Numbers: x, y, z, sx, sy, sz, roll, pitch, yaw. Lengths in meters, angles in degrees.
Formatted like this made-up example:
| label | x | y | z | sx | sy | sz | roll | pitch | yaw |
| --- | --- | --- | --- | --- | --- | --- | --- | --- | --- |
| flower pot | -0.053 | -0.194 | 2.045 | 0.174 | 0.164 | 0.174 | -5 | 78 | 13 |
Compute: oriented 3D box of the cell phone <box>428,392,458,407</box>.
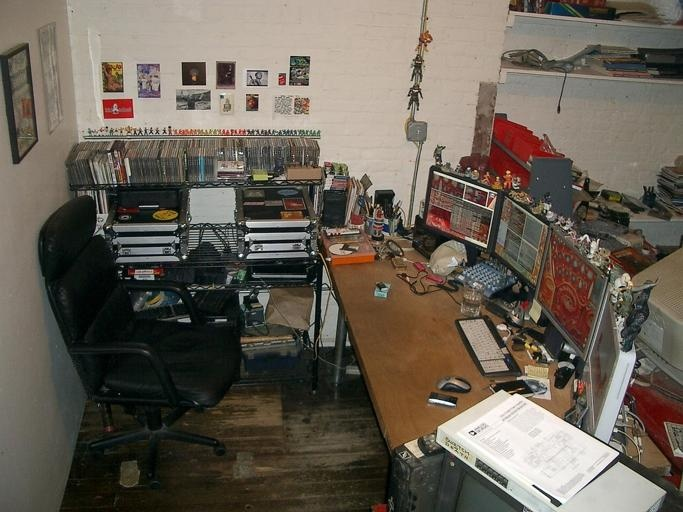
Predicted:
| label | x | y | z | sx | sy | sz | roll | pitch | yaw |
| --- | --- | --- | --- | --- | --- | --- | --- | --- | --- |
| cell phone | 0.466 | 0.664 | 2.457 | 0.107 | 0.026 | 0.058 | 2 | 29 | 2 |

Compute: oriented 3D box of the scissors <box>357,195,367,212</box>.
| label | x | y | z | sx | sy | sz | roll | pitch | yaw |
| --- | --- | --- | --- | --- | --- | --- | --- | --- | --- |
| scissors | 0.143 | -0.365 | 3.708 | 0.053 | 0.101 | 0.063 | -3 | 8 | 44 |

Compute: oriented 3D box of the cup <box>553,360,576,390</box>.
| label | x | y | z | sx | sy | sz | roll | pitch | yaw |
| --- | --- | --- | --- | --- | --- | --- | --- | --- | --- |
| cup | 1.100 | 0.585 | 2.628 | 0.083 | 0.134 | 0.066 | 7 | 14 | -9 |

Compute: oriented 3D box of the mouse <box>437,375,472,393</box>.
| label | x | y | z | sx | sy | sz | roll | pitch | yaw |
| --- | --- | --- | --- | --- | --- | --- | --- | --- | --- |
| mouse | 0.530 | 0.616 | 2.522 | 0.129 | 0.042 | 0.075 | 4 | 25 | 5 |

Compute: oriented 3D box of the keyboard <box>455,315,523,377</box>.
| label | x | y | z | sx | sy | sz | roll | pitch | yaw |
| --- | --- | --- | --- | --- | --- | --- | --- | --- | --- |
| keyboard | 0.754 | 0.480 | 2.790 | 0.243 | 0.074 | 0.426 | 5 | 34 | -12 |

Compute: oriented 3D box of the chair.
| label | x | y | z | sx | sy | sz | roll | pitch | yaw |
| --- | --- | --- | --- | --- | --- | --- | --- | --- | --- |
| chair | -1.093 | 0.469 | 3.059 | 0.943 | 1.471 | 0.786 | 5 | 23 | -5 |

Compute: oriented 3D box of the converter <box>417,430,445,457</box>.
| label | x | y | z | sx | sy | sz | roll | pitch | yaw |
| --- | --- | --- | --- | --- | --- | --- | --- | --- | --- |
| converter | 0.353 | 0.766 | 2.144 | 0.072 | 0.023 | 0.095 | -14 | 27 | -6 |

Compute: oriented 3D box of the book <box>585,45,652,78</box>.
| label | x | y | z | sx | sy | sz | roll | pitch | yaw |
| --- | --- | --- | --- | --- | --- | --- | --- | --- | --- |
| book | 2.108 | -1.478 | 4.038 | 0.321 | 0.076 | 0.313 | 4 | 40 | 1 |

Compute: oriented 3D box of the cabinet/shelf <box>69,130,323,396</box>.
| label | x | y | z | sx | sy | sz | roll | pitch | yaw |
| --- | --- | --- | --- | --- | --- | --- | --- | --- | --- |
| cabinet/shelf | -0.880 | 0.327 | 4.015 | 2.358 | 2.295 | 0.866 | 0 | 37 | -6 |
